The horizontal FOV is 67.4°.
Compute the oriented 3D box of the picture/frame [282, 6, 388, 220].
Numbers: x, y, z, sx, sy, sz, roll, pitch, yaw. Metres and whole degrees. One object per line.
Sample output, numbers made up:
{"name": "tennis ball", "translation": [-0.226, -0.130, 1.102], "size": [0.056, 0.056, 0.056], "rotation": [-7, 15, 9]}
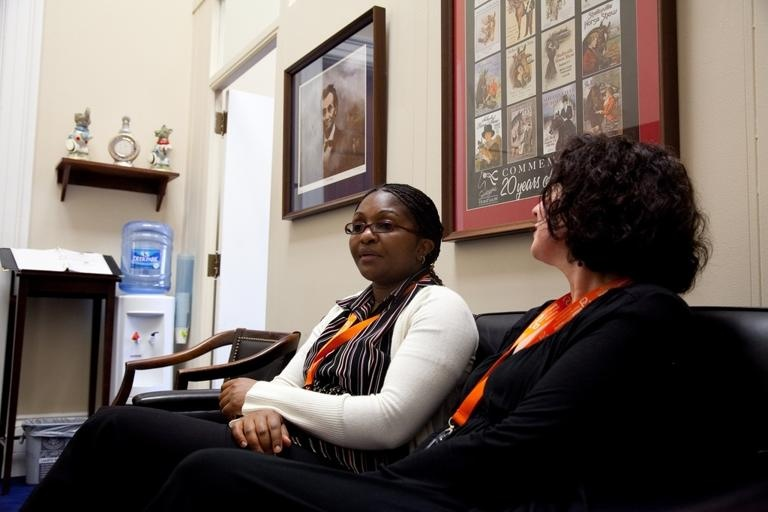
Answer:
{"name": "picture/frame", "translation": [-0.229, -0.707, 2.892], "size": [0.088, 1.061, 1.117], "rotation": [5, -12, -30]}
